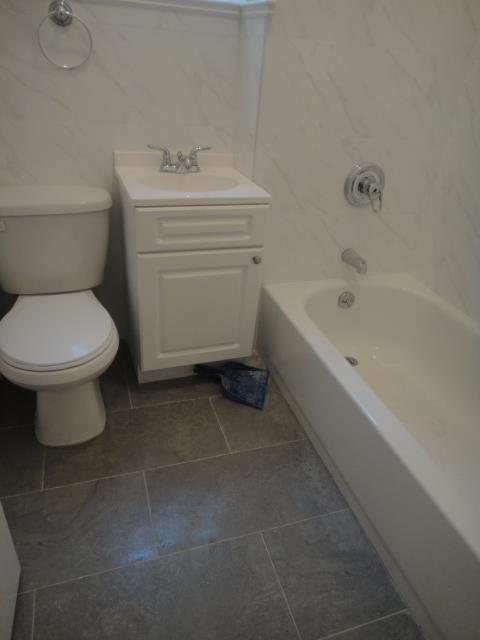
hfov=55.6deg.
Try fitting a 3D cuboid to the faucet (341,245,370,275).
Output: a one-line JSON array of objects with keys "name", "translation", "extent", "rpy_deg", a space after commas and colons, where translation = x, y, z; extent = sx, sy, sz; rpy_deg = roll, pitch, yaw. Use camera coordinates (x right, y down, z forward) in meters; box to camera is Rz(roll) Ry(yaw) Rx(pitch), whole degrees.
[{"name": "faucet", "translation": [0.465, -0.245, 1.856], "extent": [0.126, 0.077, 0.102], "rpy_deg": [38, 20, -18]}]

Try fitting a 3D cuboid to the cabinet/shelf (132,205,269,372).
[{"name": "cabinet/shelf", "translation": [-0.174, -0.227, 1.691], "extent": [0.412, 0.749, 0.497], "rpy_deg": [-6, 44, -16]}]
